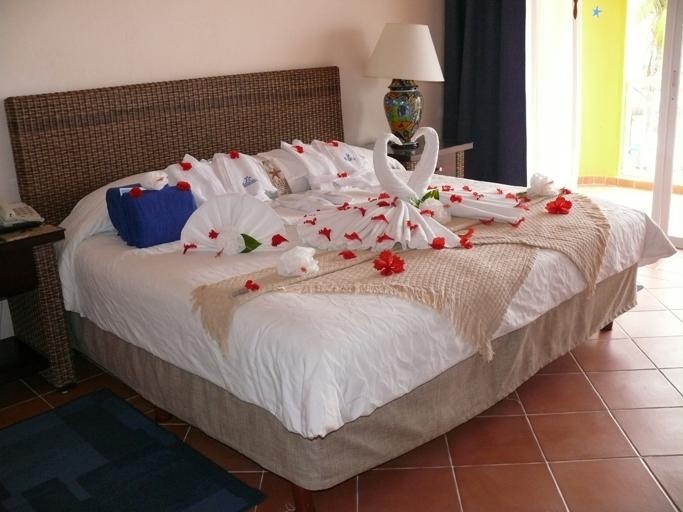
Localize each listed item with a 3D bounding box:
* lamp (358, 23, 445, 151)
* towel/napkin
[{"bbox_3d":[0.495,-1.364,3.806,0.612,0.887,0.595,9,24,16],"label":"lamp"},{"bbox_3d":[0.316,-0.226,2.341,0.832,0.380,0.819,-11,16,-10],"label":"towel/napkin"}]
